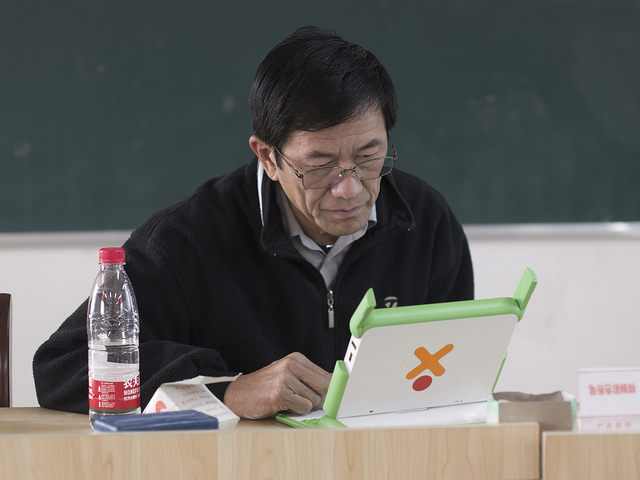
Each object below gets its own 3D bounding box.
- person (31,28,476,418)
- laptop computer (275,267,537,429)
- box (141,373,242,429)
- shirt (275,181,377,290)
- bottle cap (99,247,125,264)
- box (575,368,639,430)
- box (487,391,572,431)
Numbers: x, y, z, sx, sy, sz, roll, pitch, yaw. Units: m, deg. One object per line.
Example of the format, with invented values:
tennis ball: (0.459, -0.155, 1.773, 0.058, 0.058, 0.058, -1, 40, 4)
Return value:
person: (-0.268, -0.087, 3.321, 1.067, 1.360, 0.702, -10, 27, -21)
laptop computer: (0.280, 0.342, 2.701, 0.469, 0.390, 0.524, 2, -4, -18)
box: (-0.343, 0.449, 2.742, 0.169, 0.118, 0.180, 14, -1, 5)
shirt: (-0.013, 0.019, 3.164, 0.255, 0.387, 0.146, -1, -1, -4)
bottle cap: (-0.566, 0.044, 2.672, 0.068, 0.046, 0.052, 0, -5, -5)
box: (0.752, 0.416, 2.573, 0.138, 0.144, 0.053, -1, 4, 1)
box: (0.550, 0.452, 2.603, 0.209, 0.096, 0.095, -1, -5, 1)
